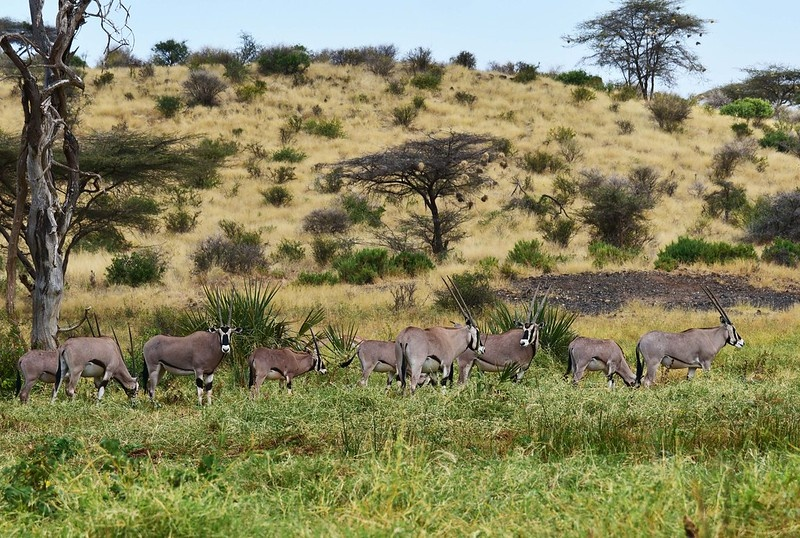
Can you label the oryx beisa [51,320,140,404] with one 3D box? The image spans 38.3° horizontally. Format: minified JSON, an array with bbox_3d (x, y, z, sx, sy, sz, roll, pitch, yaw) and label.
[{"bbox_3d":[-7.552,2.603,28.929,0.662,1.813,2.227,-3,-11,43],"label":"oryx beisa"}]
